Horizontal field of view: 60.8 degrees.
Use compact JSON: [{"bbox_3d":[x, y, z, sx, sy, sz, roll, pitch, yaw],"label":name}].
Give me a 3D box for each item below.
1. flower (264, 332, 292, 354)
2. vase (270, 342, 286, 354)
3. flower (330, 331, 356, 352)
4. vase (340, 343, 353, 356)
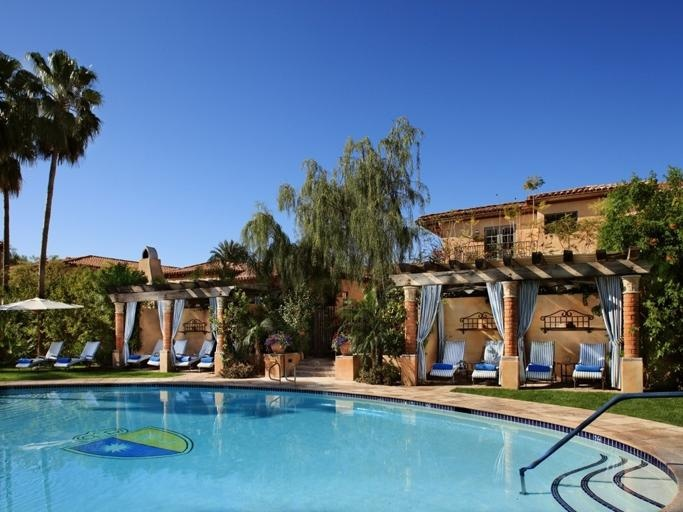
[{"bbox_3d":[-2.311,3.208,21.225,0.777,0.654,0.834,3,-14,-12],"label":"flower"},{"bbox_3d":[-2.292,3.353,21.092,0.383,0.283,0.416,0,-11,-4],"label":"vase"},{"bbox_3d":[0.043,2.972,19.792,0.704,0.583,0.766,1,-10,-8],"label":"flower"},{"bbox_3d":[0.173,3.142,19.671,0.282,0.458,0.665,6,-7,-41],"label":"vase"}]
